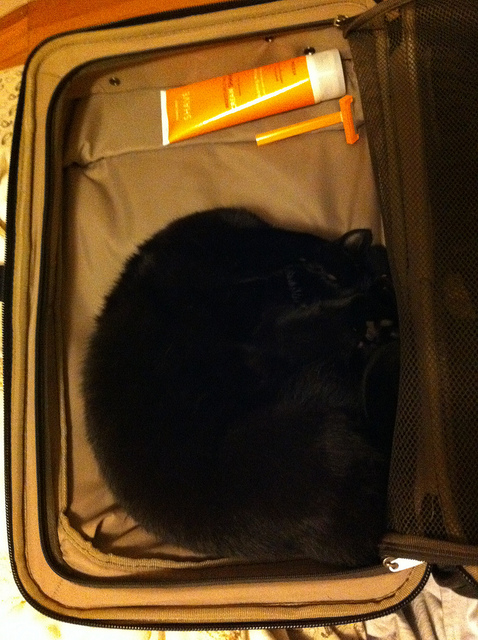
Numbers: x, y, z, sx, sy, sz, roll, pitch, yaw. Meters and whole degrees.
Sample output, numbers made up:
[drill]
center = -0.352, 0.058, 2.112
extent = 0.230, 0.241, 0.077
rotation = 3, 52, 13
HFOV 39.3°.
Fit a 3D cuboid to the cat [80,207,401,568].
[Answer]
[cat]
center = 0.013, 0.102, 0.910
extent = 0.424, 0.187, 0.433
rotation = -12, 78, 6
